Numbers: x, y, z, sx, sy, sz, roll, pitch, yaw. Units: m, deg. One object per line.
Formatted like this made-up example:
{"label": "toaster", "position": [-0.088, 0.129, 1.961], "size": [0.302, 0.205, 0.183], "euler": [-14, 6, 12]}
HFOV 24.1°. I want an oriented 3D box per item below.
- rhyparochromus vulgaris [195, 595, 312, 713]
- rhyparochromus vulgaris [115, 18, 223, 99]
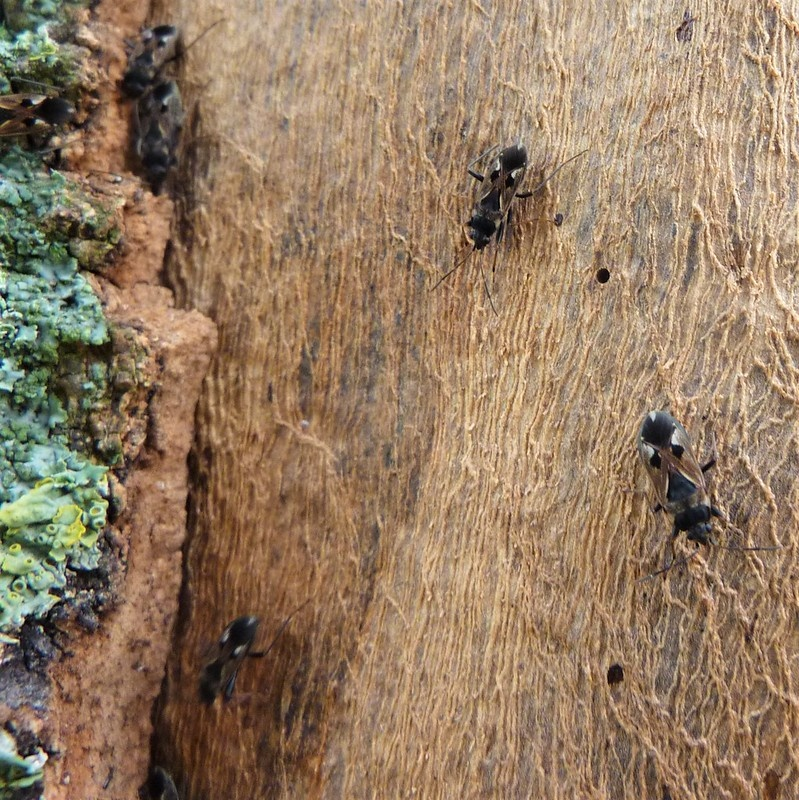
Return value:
{"label": "rhyparochromus vulgaris", "position": [-0.739, 1.208, 8.708], "size": [0.250, 0.106, 0.463], "euler": [23, 92, 45]}
{"label": "rhyparochromus vulgaris", "position": [-1.176, -1.658, 9.032], "size": [0.363, 0.085, 0.252], "euler": [-39, 96, -17]}
